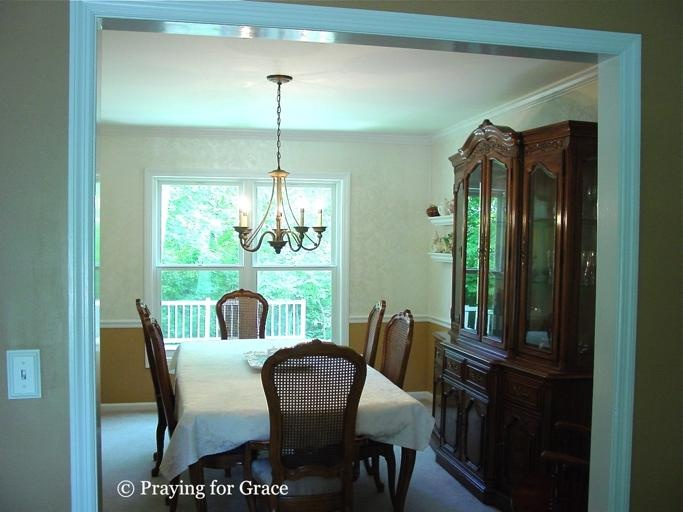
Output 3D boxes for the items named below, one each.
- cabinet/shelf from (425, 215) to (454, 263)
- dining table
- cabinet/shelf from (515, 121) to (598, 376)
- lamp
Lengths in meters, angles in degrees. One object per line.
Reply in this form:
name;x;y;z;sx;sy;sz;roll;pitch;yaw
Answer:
cabinet/shelf;0.928;-0.152;5.157;0.156;0.419;0.481;1;-1;-10
dining table;-0.277;0.984;3.070;1.085;0.447;1.882;2;-5;-16
cabinet/shelf;1.333;-0.014;3.445;0.339;1.478;0.643;2;-1;-11
lamp;-0.468;-0.704;4.314;0.797;1.410;0.764;-3;4;-42
